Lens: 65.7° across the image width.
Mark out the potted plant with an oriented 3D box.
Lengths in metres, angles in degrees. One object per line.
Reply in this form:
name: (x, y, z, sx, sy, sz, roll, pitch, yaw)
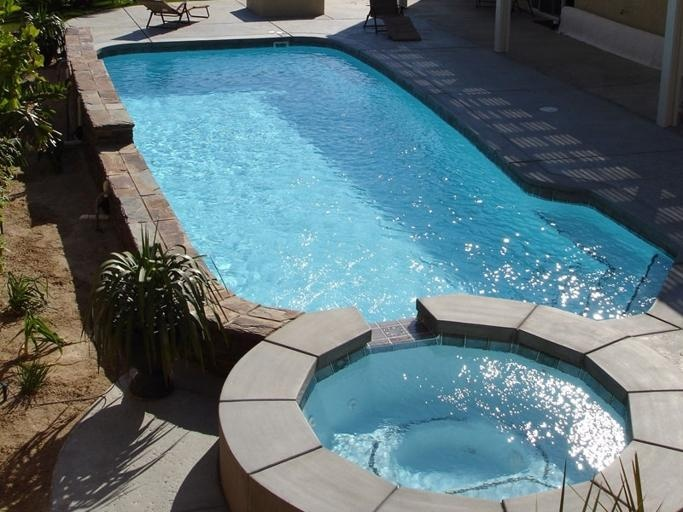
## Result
potted plant: (-1.489, 0.478, 4.041, 0.999, 1.126, 1.049, 8, 13, 33)
